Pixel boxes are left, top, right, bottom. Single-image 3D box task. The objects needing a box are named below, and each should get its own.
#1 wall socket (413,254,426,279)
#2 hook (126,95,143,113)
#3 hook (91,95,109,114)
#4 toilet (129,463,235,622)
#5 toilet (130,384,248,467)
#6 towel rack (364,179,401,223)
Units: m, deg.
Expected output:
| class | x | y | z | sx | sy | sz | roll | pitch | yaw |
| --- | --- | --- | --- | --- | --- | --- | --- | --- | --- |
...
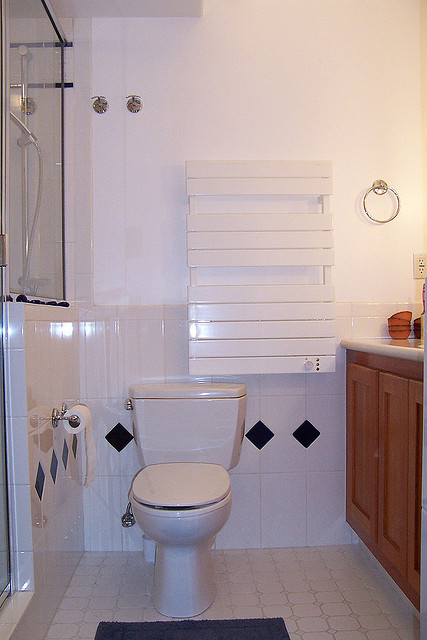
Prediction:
| class | x | y | z | sx | sy | sz | roll | pitch | yaw |
| --- | --- | --- | --- | --- | --- | --- | --- | --- | --- |
| wall socket | 0.847 | -0.217 | 2.271 | 0.053 | 0.100 | 0.022 | 0 | 4 | -2 |
| hook | -0.318 | -0.851 | 2.187 | 0.054 | 0.072 | 0.014 | 2 | 10 | 6 |
| hook | -0.454 | -0.845 | 2.184 | 0.058 | 0.078 | 0.015 | 3 | 25 | -1 |
| toilet | -0.094 | 0.719 | 1.904 | 0.308 | 0.477 | 0.482 | 6 | 9 | 3 |
| toilet | -0.090 | 0.287 | 2.047 | 0.409 | 0.316 | 0.263 | 1 | -2 | 0 |
| towel rack | 0.688 | -0.483 | 2.260 | 0.150 | 0.174 | 0.041 | -1 | 4 | -16 |
